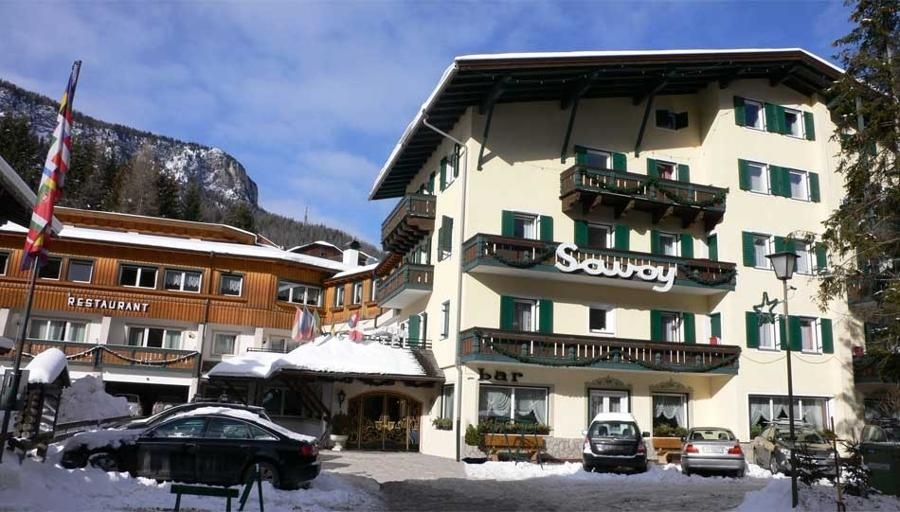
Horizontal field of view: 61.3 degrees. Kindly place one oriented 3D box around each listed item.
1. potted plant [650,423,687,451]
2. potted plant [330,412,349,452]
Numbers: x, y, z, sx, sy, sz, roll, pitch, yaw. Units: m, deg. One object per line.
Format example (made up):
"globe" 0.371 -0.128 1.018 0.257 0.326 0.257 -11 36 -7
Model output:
"potted plant" 12.519 10.471 43.854 2.039 1.978 1.713 1 -16 -3
"potted plant" -6.348 10.147 43.464 1.227 2.027 1.094 4 -16 3
